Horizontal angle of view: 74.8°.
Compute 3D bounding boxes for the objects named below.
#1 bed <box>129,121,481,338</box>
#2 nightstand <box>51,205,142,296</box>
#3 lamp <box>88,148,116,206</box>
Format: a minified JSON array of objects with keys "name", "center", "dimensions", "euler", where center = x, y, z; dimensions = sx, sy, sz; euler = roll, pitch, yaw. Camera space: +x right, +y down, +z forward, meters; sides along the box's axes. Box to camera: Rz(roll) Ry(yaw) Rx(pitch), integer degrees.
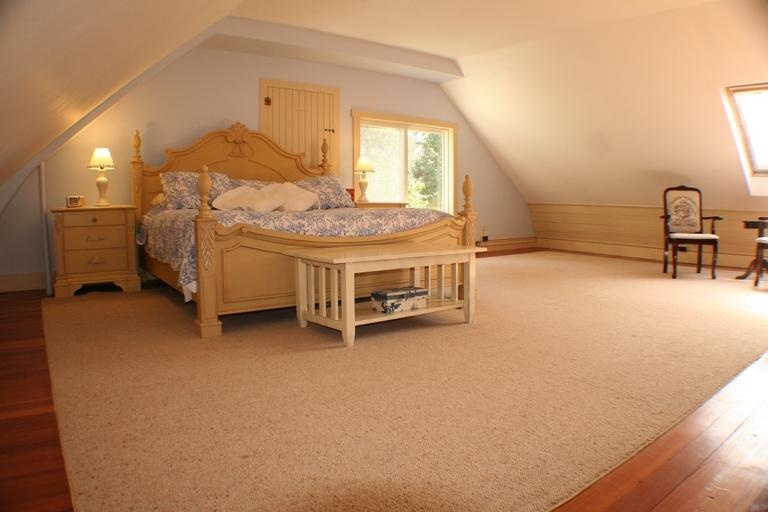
[{"name":"bed","center":[-1.126,-0.549,5.713],"dimensions":[2.871,2.068,3.104],"euler":[-5,10,-32]},{"name":"nightstand","center":[-3.145,-0.047,5.451],"dimensions":[0.948,1.026,0.548],"euler":[-3,4,-33]},{"name":"lamp","center":[-3.201,-0.919,5.703],"dimensions":[0.268,0.654,0.490],"euler":[-6,11,-30]}]
